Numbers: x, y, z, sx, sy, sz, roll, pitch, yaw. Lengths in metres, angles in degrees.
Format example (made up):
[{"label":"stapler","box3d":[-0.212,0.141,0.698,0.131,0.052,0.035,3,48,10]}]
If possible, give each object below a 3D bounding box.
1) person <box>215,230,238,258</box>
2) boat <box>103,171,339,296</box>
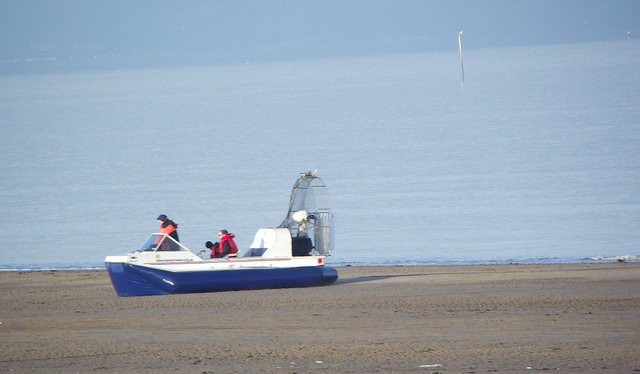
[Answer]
[{"label":"person","box3d":[-6.502,4.113,108.024,1.433,1.963,0.446,-4,7,-3]},{"label":"boat","box3d":[-7.003,3.448,107.901,16.382,8.256,2.122,-3,7,-11]}]
